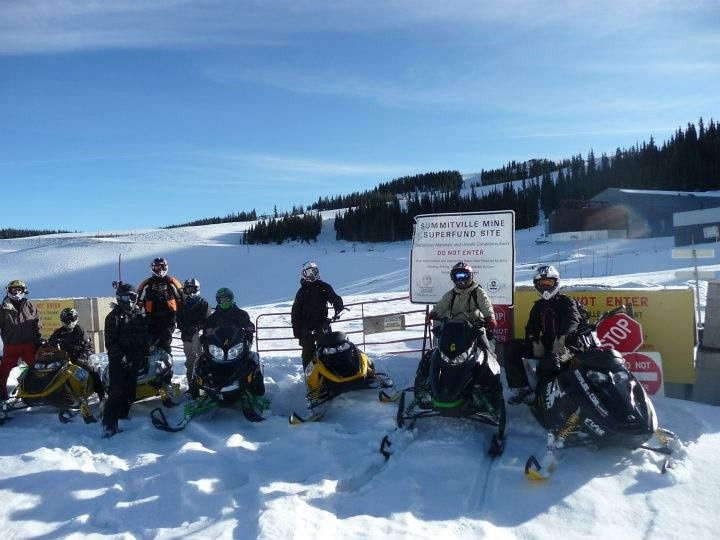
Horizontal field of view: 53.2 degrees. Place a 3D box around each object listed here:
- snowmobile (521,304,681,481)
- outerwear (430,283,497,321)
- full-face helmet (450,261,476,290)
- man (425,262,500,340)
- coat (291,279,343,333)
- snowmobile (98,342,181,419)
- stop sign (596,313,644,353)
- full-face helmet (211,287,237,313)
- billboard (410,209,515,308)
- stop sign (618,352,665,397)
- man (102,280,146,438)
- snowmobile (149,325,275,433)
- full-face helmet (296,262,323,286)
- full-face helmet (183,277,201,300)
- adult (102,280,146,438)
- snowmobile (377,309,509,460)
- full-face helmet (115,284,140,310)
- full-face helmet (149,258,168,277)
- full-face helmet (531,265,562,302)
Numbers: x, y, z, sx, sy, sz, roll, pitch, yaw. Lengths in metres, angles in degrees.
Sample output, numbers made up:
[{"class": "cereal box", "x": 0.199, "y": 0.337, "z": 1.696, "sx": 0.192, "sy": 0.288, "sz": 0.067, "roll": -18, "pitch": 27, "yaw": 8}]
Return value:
[{"class": "snowmobile", "x": 3.615, "y": 1.814, "z": 10.873, "sx": 2.166, "sy": 2.325, "sz": 1.854, "roll": -1, "pitch": 4, "yaw": 23}, {"class": "outerwear", "x": 1.909, "y": 0.601, "z": 12.904, "sx": 1.004, "sy": 0.809, "sz": 0.622, "roll": -8, "pitch": -17, "yaw": 35}, {"class": "full-face helmet", "x": 1.868, "y": 0.112, "z": 12.965, "sx": 0.331, "sy": 0.444, "sz": 0.468, "roll": -10, "pitch": -11, "yaw": 14}, {"class": "man", "x": 1.912, "y": 0.929, "z": 12.942, "sx": 1.200, "sy": 2.163, "sz": 1.067, "roll": -3, "pitch": -2, "yaw": 31}, {"class": "coat", "x": -0.900, "y": 0.827, "z": 15.335, "sx": 1.356, "sy": 1.551, "sz": 0.605, "roll": 0, "pitch": -10, "yaw": -11}, {"class": "snowmobile", "x": -4.211, "y": 1.736, "z": 13.827, "sx": 1.061, "sy": 1.122, "sz": 2.070, "roll": -9, "pitch": 11, "yaw": -12}, {"class": "stop sign", "x": 4.707, "y": 1.180, "z": 13.022, "sx": 0.811, "sy": 0.868, "sz": 0.205, "roll": -14, "pitch": -18, "yaw": -2}, {"class": "full-face helmet", "x": -2.626, "y": 0.586, "z": 13.800, "sx": 0.296, "sy": 0.430, "sz": 0.420, "roll": -3, "pitch": -11, "yaw": -5}, {"class": "billboard", "x": 2.072, "y": -0.198, "z": 14.148, "sx": 1.711, "sy": 1.633, "sz": 0.193, "roll": -1, "pitch": -6, "yaw": 30}, {"class": "stop sign", "x": 4.691, "y": 1.766, "z": 11.967, "sx": 0.839, "sy": 0.953, "sz": 0.072, "roll": -1, "pitch": -2, "yaw": 37}, {"class": "man", "x": -4.141, "y": 1.517, "z": 12.443, "sx": 0.533, "sy": 2.457, "sz": 1.080, "roll": -1, "pitch": 4, "yaw": 15}, {"class": "snowmobile", "x": -2.327, "y": 1.846, "z": 12.476, "sx": 1.414, "sy": 1.632, "sz": 0.675, "roll": -4, "pitch": 4, "yaw": -10}, {"class": "full-face helmet", "x": -0.974, "y": 0.032, "z": 14.079, "sx": 0.346, "sy": 0.497, "sz": 0.436, "roll": 0, "pitch": -12, "yaw": -11}, {"class": "full-face helmet", "x": -3.418, "y": 0.387, "z": 14.597, "sx": 0.302, "sy": 0.401, "sz": 0.391, "roll": -1, "pitch": -19, "yaw": -11}, {"class": "adult", "x": -4.167, "y": 1.513, "z": 12.472, "sx": 0.458, "sy": 2.449, "sz": 1.055, "roll": -1, "pitch": 4, "yaw": 24}, {"class": "snowmobile", "x": 1.455, "y": 1.836, "z": 11.544, "sx": 1.693, "sy": 2.021, "sz": 1.025, "roll": -2, "pitch": 4, "yaw": 12}, {"class": "full-face helmet", "x": -4.110, "y": 0.486, "z": 12.714, "sx": 0.331, "sy": 0.499, "sz": 0.450, "roll": 2, "pitch": -7, "yaw": -39}, {"class": "full-face helmet", "x": -3.999, "y": -0.041, "z": 14.378, "sx": 0.306, "sy": 0.389, "sz": 0.392, "roll": 0, "pitch": -5, "yaw": -29}, {"class": "full-face helmet", "x": 3.205, "y": 0.195, "z": 12.370, "sx": 0.429, "sy": 0.616, "sz": 0.616, "roll": -7, "pitch": -1, "yaw": 18}]
